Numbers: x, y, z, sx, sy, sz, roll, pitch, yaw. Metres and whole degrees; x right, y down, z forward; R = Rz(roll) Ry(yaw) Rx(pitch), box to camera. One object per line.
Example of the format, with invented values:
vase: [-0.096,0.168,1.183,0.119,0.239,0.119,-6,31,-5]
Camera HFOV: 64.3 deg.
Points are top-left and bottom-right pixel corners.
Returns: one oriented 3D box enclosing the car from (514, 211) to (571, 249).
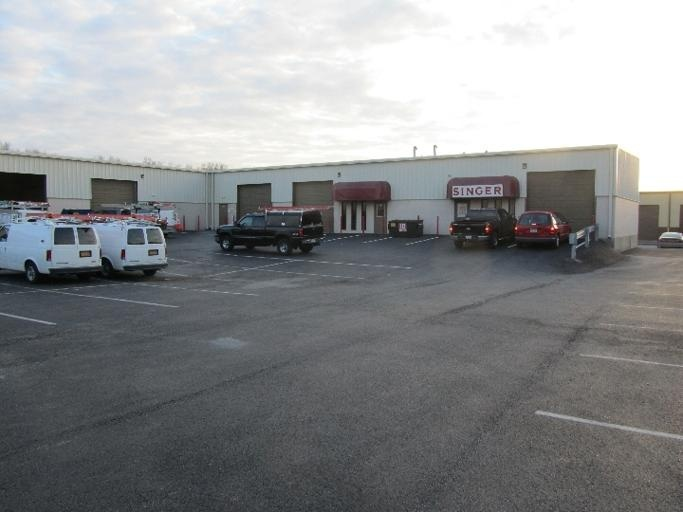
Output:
car: [10.978,-1.532,29.167,1.639,1.165,3.228,2,7,30]

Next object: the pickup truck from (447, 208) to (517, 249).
pickup truck: [8.295,-1.587,30.693,2.055,1.513,4.334,3,10,32]

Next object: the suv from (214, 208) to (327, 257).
suv: [-3.927,-1.377,29.871,5.465,2.295,2.693,4,6,26]
